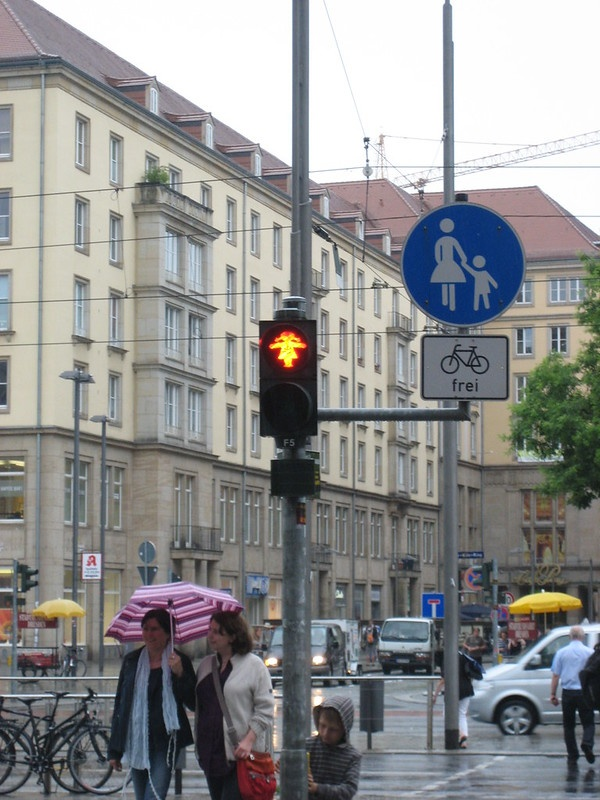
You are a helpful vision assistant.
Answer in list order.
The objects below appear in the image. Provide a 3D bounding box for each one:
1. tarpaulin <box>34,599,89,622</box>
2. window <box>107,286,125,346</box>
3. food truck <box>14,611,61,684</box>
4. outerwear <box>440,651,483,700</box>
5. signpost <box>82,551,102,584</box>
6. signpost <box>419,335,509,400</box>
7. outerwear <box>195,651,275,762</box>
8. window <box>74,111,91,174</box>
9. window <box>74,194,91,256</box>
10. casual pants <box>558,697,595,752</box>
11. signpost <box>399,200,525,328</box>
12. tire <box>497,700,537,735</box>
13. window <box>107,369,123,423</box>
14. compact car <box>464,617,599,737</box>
[{"bbox_3d":[-5.685,5.044,52.930,0.839,0.387,0.865,-12,-19,40],"label":"tarpaulin"},{"bbox_3d":[-5.548,-2.403,65.229,0.113,1.546,0.763,-1,-6,29],"label":"window"},{"bbox_3d":[-6.556,6.036,54.940,1.051,1.630,0.749,1,-3,-5],"label":"food truck"},{"bbox_3d":[2.287,3.895,31.594,0.662,0.941,0.615,-2,-10,6],"label":"outerwear"},{"bbox_3d":[-4.696,3.700,49.416,0.405,0.557,0.726,-1,-10,-2],"label":"signpost"},{"bbox_3d":[1.376,-0.264,18.721,0.749,0.585,0.343,-1,-9,2],"label":"signpost"},{"bbox_3d":[-0.591,2.626,18.935,0.625,0.819,0.401,-14,-23,26],"label":"outerwear"},{"bbox_3d":[-6.360,-7.332,63.703,0.099,1.443,0.671,-3,13,-23],"label":"window"},{"bbox_3d":[-6.282,-4.910,63.156,0.250,1.625,0.912,-2,-9,11],"label":"window"},{"bbox_3d":[3.649,4.228,28.996,0.340,0.866,0.771,2,-10,-18],"label":"casual pants"},{"bbox_3d":[1.374,-1.133,18.826,1.075,1.359,0.115,1,-37,3],"label":"signpost"},{"bbox_3d":[3.328,4.889,34.232,0.415,0.539,0.180,1,3,3],"label":"tire"},{"bbox_3d":[-5.540,-0.072,64.894,0.113,1.419,0.702,-5,-9,29],"label":"window"},{"bbox_3d":[3.573,4.434,34.826,2.129,1.421,1.332,1,-7,1],"label":"compact car"}]
